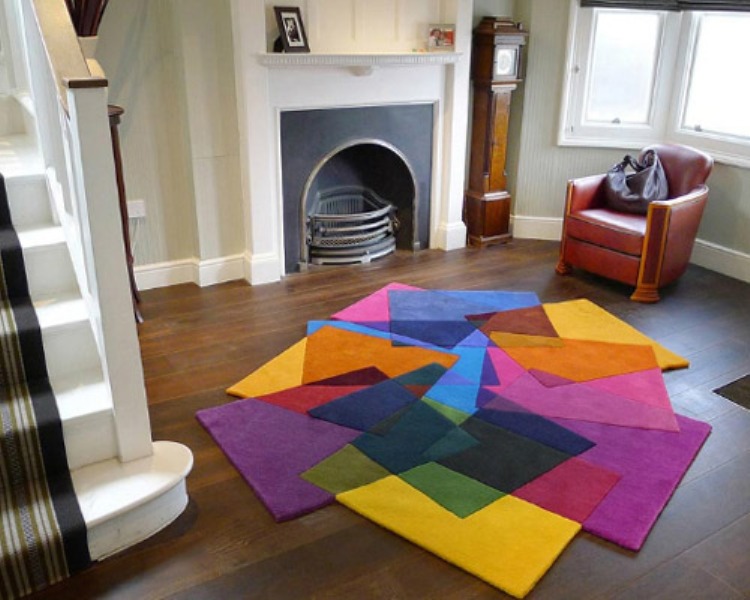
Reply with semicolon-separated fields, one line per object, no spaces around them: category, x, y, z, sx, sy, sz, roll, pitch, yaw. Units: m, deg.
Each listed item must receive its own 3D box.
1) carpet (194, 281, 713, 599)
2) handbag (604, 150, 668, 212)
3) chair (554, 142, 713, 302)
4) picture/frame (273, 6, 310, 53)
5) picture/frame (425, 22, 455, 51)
carpet;0.458;0.576;2.727;2.341;0.137;1.780;-6;23;-13
handbag;1.958;-0.874;4.296;0.519;0.605;0.313;8;13;39
chair;1.931;-0.632;4.317;0.865;0.942;0.806;-19;28;-37
picture/frame;-0.562;-1.788;3.809;0.217;0.303;0.160;-20;37;-28
picture/frame;0.482;-1.991;4.340;0.221;0.209;0.024;-4;25;-8
